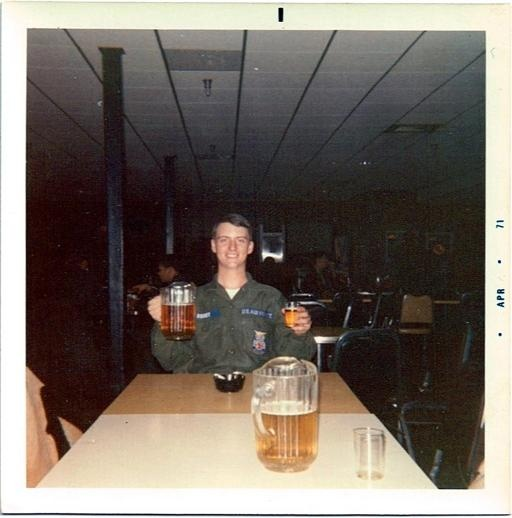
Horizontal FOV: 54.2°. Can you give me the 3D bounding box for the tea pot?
[{"bbox_3d":[0.045,0.278,0.933,0.135,0.167,0.188,1,4,22],"label":"tea pot"}]
